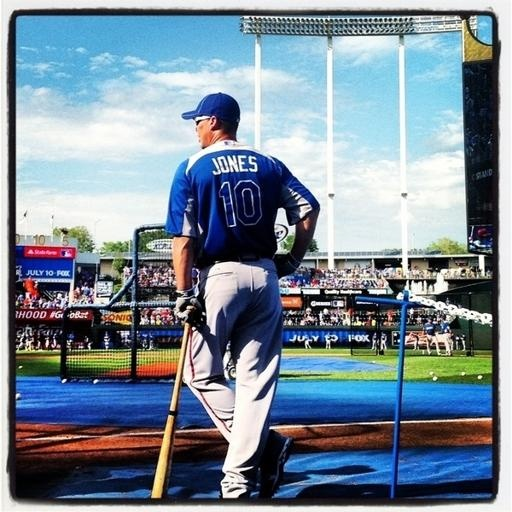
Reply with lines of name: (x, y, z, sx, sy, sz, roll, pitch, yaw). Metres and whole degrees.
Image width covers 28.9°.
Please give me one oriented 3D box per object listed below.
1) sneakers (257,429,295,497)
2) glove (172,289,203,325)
sneakers: (0.135, 1.644, 8.078, 0.223, 0.598, 0.201, 14, -2, 12)
glove: (-0.539, 0.408, 7.903, 0.197, 0.283, 0.121, -15, 5, 0)
